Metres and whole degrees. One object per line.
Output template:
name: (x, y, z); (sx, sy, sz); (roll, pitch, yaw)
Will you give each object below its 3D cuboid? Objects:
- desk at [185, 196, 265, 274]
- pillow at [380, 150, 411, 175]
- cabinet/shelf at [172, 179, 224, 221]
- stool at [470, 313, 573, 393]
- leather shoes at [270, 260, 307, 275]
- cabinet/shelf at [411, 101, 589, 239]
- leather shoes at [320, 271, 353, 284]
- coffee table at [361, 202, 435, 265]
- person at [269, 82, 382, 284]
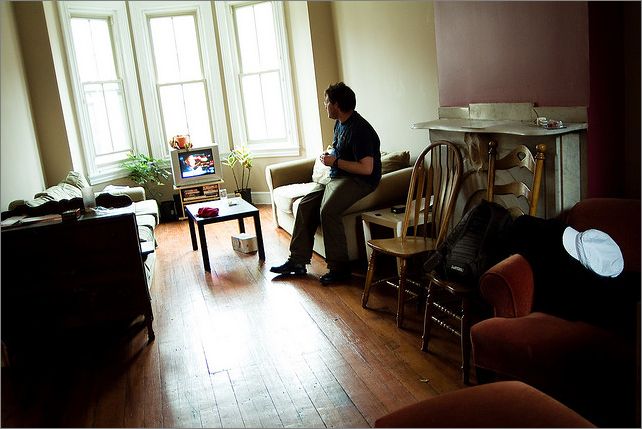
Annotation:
desk: (-1.039, 0.149, 4.920); (0.760, 0.639, 0.811); (-11, 23, -24)
pillow: (0.710, -0.508, 4.457); (0.247, 0.254, 0.078); (10, 3, 29)
cabinet/shelf: (-1.718, -0.362, 6.516); (0.703, 0.566, 0.421); (-7, 10, -21)
stool: (1.030, 0.628, 2.350); (0.332, 0.336, 0.360); (-2, 3, -14)
leather shoes: (-0.299, 0.470, 4.330); (0.345, 0.189, 0.139); (4, 0, -3)
cabinet/shelf: (1.240, -0.291, 3.111); (0.272, 0.954, 0.925); (-5, 10, -22)
leather shoes: (0.131, 0.539, 4.041); (0.249, 0.117, 0.107); (2, 3, -23)
coffee table: (0.653, 0.095, 3.971); (0.458, 0.510, 0.474); (-5, 11, -22)
person: (0.078, -0.285, 4.080); (0.934, 1.659, 0.646); (-4, 16, 7)
